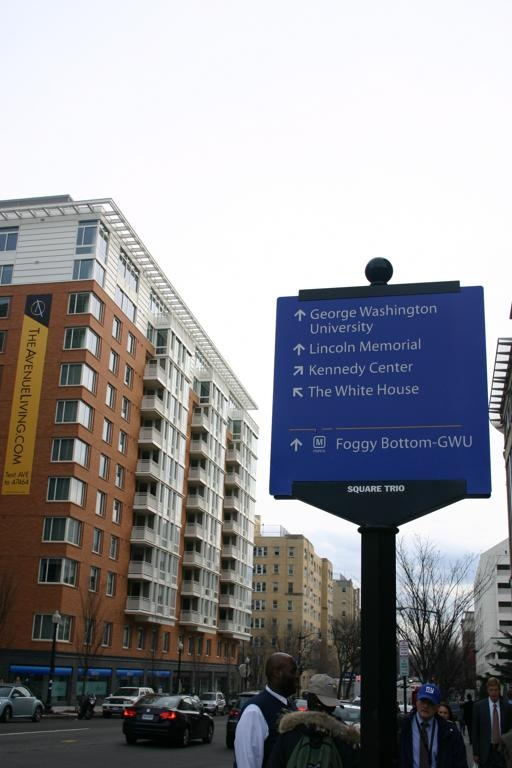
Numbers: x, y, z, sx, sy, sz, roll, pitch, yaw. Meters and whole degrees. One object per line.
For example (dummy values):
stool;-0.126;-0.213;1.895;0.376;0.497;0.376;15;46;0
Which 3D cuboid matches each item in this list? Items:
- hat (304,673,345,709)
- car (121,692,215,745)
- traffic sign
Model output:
hat;0.372;1.695;4.007;0.152;0.113;0.221;16;-26;-8
car;-2.520;10.219;21.979;1.546;1.090;3.465;-5;-22;18
traffic sign;0.820;0.104;4.560;1.440;1.333;0.126;-3;-26;12
